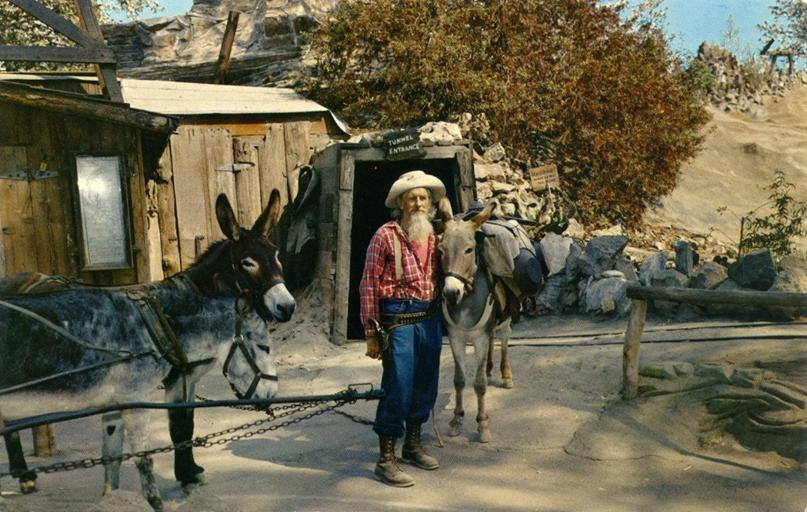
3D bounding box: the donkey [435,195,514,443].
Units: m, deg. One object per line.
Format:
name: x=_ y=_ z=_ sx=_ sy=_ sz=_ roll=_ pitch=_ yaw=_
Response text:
donkey: x=1.229 y=1.200 z=19.157 sx=1.915 sy=4.046 sz=2.224 roll=1 pitch=-2 yaw=6
